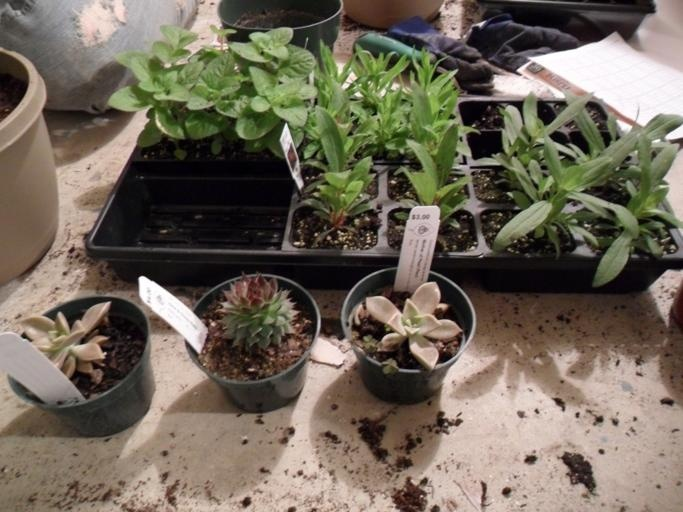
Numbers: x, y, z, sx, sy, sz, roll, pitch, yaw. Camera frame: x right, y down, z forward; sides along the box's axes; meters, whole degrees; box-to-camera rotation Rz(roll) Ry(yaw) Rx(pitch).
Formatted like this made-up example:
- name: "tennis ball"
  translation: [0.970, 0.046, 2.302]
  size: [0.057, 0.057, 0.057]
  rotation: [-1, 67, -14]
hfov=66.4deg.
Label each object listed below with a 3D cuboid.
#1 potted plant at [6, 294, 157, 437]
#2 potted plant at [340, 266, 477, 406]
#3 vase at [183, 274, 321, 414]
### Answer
- name: "potted plant"
  translation: [-0.676, 0.346, 1.611]
  size: [0.417, 0.299, 0.396]
  rotation: [12, 49, 6]
- name: "potted plant"
  translation: [0.182, 0.230, 1.553]
  size: [0.361, 0.264, 0.344]
  rotation: [26, 54, 16]
- name: "vase"
  translation: [-0.205, 0.289, 1.586]
  size: [0.439, 0.288, 0.389]
  rotation: [-5, 50, 0]
